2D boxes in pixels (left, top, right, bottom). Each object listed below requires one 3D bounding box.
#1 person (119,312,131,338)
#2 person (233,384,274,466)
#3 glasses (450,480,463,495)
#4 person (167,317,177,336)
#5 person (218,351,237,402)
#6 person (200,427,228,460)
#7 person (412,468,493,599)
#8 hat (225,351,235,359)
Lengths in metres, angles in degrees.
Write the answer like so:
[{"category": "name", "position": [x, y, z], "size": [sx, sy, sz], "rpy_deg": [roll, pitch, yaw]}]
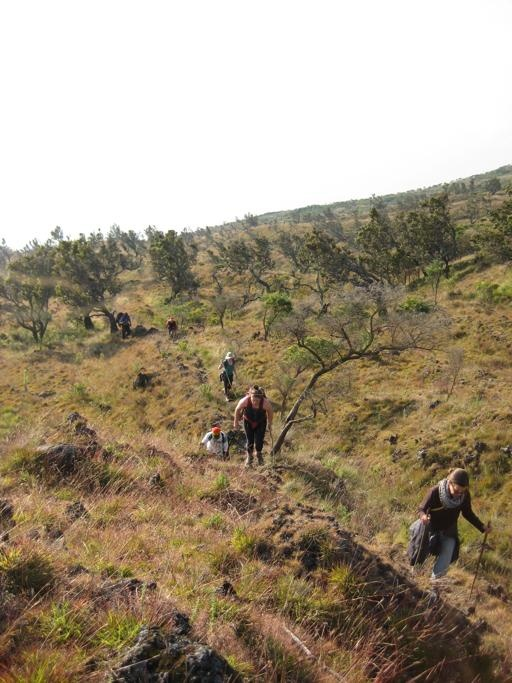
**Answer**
[{"category": "person", "position": [-6.443, -0.769, 26.886], "size": [0.535, 1.338, 1.772], "rpy_deg": [-13, 3, -13]}, {"category": "person", "position": [-0.026, 1.367, 8.852], "size": [0.523, 1.470, 0.501], "rpy_deg": [3, 21, 8]}, {"category": "glasses", "position": [2.114, 1.552, 5.762], "size": [0.154, 0.117, 0.081], "rpy_deg": [-12, 4, 27]}, {"category": "person", "position": [-3.844, -0.624, 25.192], "size": [0.356, 0.838, 1.007], "rpy_deg": [-13, 3, -13]}, {"category": "person", "position": [-0.769, 0.946, 14.825], "size": [0.522, 1.286, 0.402], "rpy_deg": [-5, 22, -21]}, {"category": "person", "position": [-0.655, 1.700, 9.423], "size": [0.455, 0.760, 0.503], "rpy_deg": [0, 10, 5]}, {"category": "person", "position": [2.085, 2.082, 6.009], "size": [0.715, 1.520, 0.665], "rpy_deg": [9, 10, 19]}, {"category": "hat", "position": [-0.659, 0.397, 14.263], "size": [0.206, 0.103, 0.244], "rpy_deg": [0, -5, 4]}]
